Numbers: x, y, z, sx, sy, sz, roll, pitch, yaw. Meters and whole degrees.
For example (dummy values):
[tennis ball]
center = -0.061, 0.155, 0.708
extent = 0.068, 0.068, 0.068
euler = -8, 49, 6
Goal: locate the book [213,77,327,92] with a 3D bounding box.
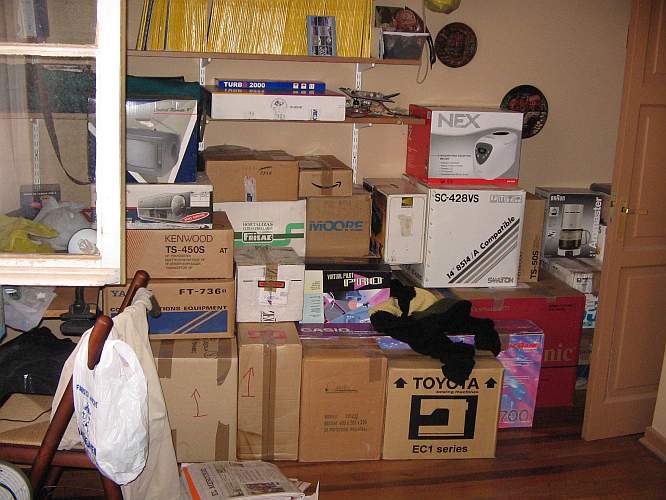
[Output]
[book]
center = -0.343, -0.902, 3.281
extent = 0.602, 0.079, 0.169
euler = -4, 15, -13

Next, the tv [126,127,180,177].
[tv]
center = -0.860, -0.460, 2.856
extent = 0.246, 0.252, 0.050
euler = -3, 14, -12

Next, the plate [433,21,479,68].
[plate]
center = 0.781, -1.298, 3.755
extent = 0.267, 0.262, 0.039
euler = 1, 17, -12
